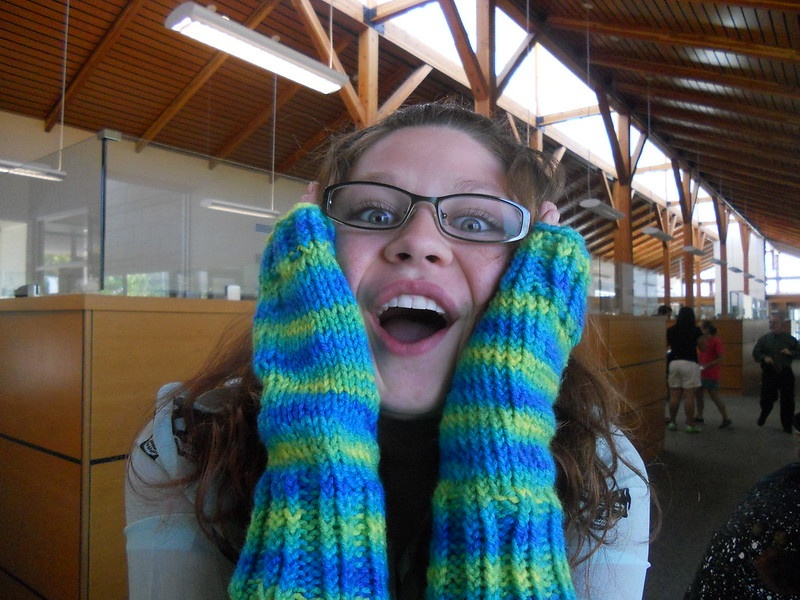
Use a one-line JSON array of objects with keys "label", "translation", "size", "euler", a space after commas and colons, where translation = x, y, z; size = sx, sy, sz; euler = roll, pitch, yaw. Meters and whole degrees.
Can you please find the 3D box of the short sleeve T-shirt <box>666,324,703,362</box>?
[{"label": "short sleeve T-shirt", "translation": [3.090, 0.467, 7.099], "size": [0.367, 0.478, 0.242], "euler": [-2, -10, 24]}]
